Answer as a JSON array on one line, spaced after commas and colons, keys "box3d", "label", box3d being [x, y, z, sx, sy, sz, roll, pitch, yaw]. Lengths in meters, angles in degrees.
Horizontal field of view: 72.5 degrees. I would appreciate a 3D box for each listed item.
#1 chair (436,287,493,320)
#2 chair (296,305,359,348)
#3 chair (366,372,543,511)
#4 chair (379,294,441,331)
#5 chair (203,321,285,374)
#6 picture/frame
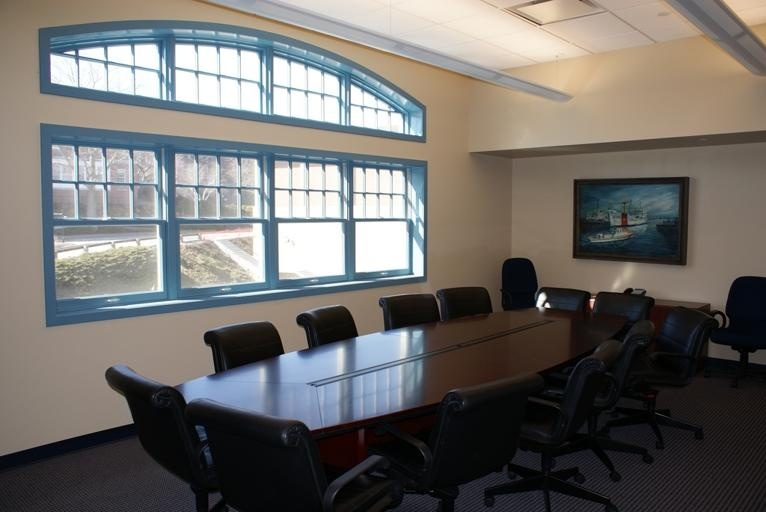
[{"box3d": [0.870, 0.547, 6.114, 0.440, 0.615, 0.437, -1, -6, -27], "label": "chair"}, {"box3d": [-0.521, 0.637, 4.977, 0.424, 0.621, 0.461, -6, -5, -40], "label": "chair"}, {"box3d": [0.522, 1.106, 3.762, 0.844, 1.017, 1.000, -3, 8, -36], "label": "chair"}, {"box3d": [0.274, 0.570, 5.565, 0.492, 0.613, 0.422, -2, -2, -28], "label": "chair"}, {"box3d": [-1.152, 0.702, 4.461, 0.472, 0.683, 0.489, -4, -3, -45], "label": "chair"}, {"box3d": [3.512, -0.490, 7.290, 1.269, 0.953, 0.054, 4, 7, 40], "label": "picture/frame"}]
